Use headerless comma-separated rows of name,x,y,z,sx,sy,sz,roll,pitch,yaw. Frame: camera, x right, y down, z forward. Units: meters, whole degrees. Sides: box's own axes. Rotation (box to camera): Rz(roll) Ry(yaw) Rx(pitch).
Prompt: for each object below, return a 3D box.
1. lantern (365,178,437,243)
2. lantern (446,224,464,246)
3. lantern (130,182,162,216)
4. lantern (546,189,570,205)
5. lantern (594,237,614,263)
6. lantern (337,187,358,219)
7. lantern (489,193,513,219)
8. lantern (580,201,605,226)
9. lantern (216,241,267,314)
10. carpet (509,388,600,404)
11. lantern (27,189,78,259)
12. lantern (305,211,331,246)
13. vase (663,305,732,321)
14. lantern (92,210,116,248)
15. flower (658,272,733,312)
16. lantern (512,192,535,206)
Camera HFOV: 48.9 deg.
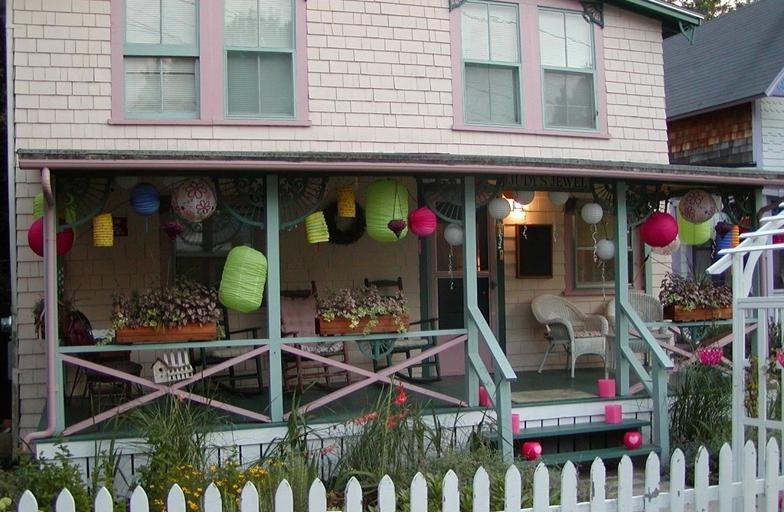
lantern,0.088,-0.684,12.045,0.933,0.827,0.451,-2,-7,-9
lantern,0.933,-0.345,12.890,0.250,0.342,0.273,0,0,13
lantern,-3.255,-0.763,11.309,0.359,0.488,0.393,-1,4,4
lantern,2.452,-0.885,12.728,0.252,0.135,0.416,-6,-8,16
lantern,3.307,-0.081,13.305,0.293,0.396,0.318,0,1,-7
lantern,-0.665,-0.799,12.592,0.334,0.521,0.376,0,2,27
lantern,1.598,-0.756,12.794,0.288,0.391,0.315,-1,5,-2
lantern,3.061,-0.671,13.015,0.342,0.461,0.374,-1,2,1
lantern,-1.955,0.278,11.254,0.641,0.824,0.285,-1,-8,-16
carpet,2.265,2.000,12.353,1.223,0.159,0.911,-4,-8,-5
lantern,-4.567,-0.421,11.378,0.742,1.257,0.803,0,0,-10
lantern,-1.036,-0.394,11.867,0.377,0.484,0.399,-11,-1,17
vase,4.635,0.844,13.051,1.002,0.289,0.296,-4,-8,-5
lantern,-3.888,-0.368,11.534,0.236,0.411,0.239,1,-8,-28
flower,4.537,0.570,13.007,1.370,0.691,0.685,0,0,14
lantern,1.953,-0.912,12.938,0.278,0.236,0.546,-5,-8,7
